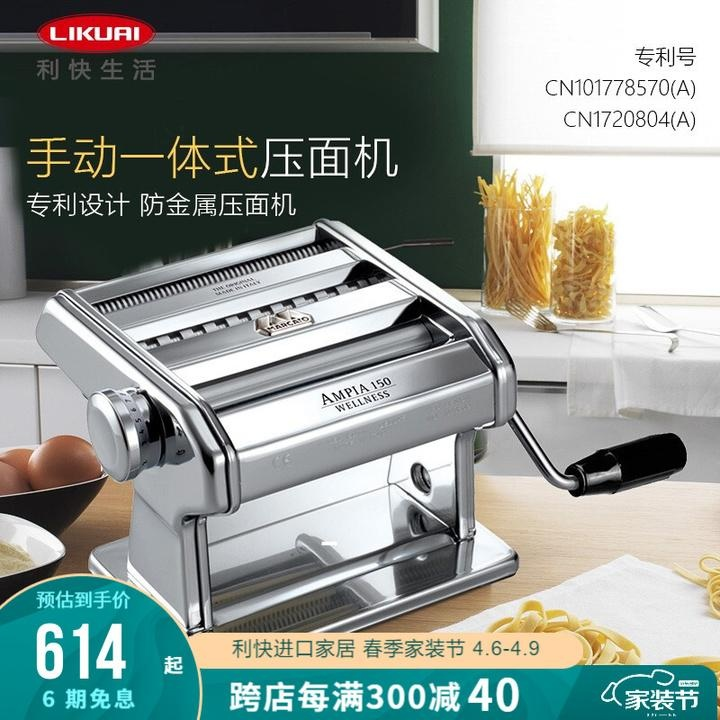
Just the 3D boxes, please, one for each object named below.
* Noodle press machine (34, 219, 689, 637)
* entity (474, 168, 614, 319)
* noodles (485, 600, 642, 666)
[{"bbox_3d":[-0.057,0.049,0.629,0.377,0.343,0.256,-8,14,-34],"label":"Noodle press machine"},{"bbox_3d":[0.405,-0.294,1.807,0.451,0.399,0.263,12,20,40],"label":"entity"},{"bbox_3d":[0.160,0.198,0.530,0.066,0.017,0.049,5,11,39],"label":"noodles"}]
